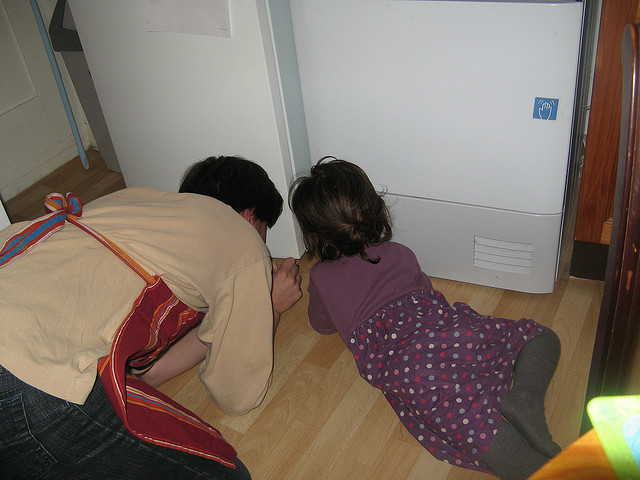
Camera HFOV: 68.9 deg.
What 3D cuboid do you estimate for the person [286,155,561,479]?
[{"bbox_3d":[0.289,0.160,1.267,0.799,0.574,0.415,23,40,34],"label":"person"}]

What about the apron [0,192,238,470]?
[{"bbox_3d":[-0.289,0.236,1.064,0.552,0.193,0.569,43,3,9],"label":"apron"}]
